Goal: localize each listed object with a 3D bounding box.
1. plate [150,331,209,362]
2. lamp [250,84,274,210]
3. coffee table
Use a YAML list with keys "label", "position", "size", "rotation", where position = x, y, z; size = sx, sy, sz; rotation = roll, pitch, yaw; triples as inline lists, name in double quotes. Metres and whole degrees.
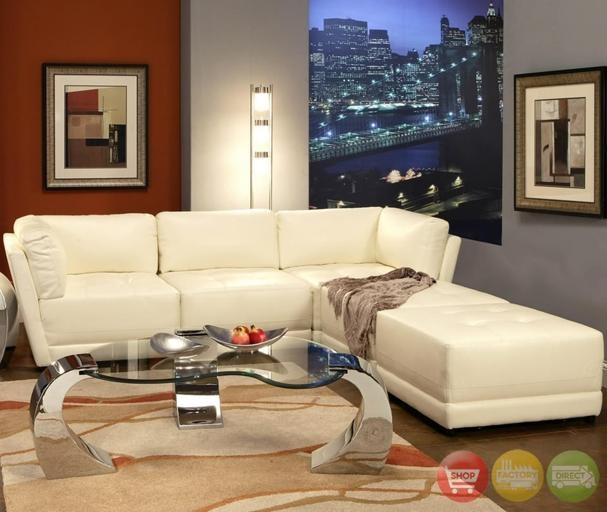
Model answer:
- label: "plate"
  position: [-0.576, 0.415, 2.574]
  size: [0.176, 0.062, 0.134]
  rotation: [2, 11, 22]
- label: "lamp"
  position: [-0.407, -1.070, 5.518]
  size: [0.267, 1.205, 0.130]
  rotation: [-3, 11, -4]
- label: "coffee table"
  position: [-0.370, 0.641, 2.430]
  size: [1.456, 0.504, 0.528]
  rotation: [-2, 10, 0]
